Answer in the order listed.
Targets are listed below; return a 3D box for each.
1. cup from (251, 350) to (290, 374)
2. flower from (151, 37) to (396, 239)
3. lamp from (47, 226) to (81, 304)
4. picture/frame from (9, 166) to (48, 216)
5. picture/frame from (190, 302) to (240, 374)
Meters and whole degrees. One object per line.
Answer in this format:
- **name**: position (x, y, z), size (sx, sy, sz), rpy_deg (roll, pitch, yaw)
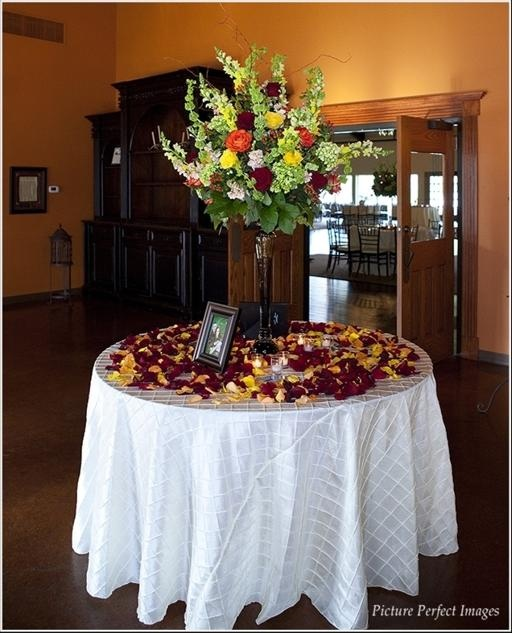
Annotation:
- **cup**: position (0.057, 0.153, 1.636), size (0.100, 0.047, 0.068), rpy_deg (-6, 12, -30)
- **flower**: position (-0.005, -0.550, 2.046), size (0.892, 0.845, 0.961), rpy_deg (-3, 15, -11)
- **lamp**: position (-3.219, -0.871, 8.086), size (0.428, 1.190, 0.709), rpy_deg (-4, 12, -20)
- **picture/frame**: position (-3.633, -1.998, 7.767), size (0.061, 0.901, 0.740), rpy_deg (8, 11, 35)
- **picture/frame**: position (-0.143, 0.082, 1.741), size (0.028, 0.291, 0.233), rpy_deg (15, 3, -34)
